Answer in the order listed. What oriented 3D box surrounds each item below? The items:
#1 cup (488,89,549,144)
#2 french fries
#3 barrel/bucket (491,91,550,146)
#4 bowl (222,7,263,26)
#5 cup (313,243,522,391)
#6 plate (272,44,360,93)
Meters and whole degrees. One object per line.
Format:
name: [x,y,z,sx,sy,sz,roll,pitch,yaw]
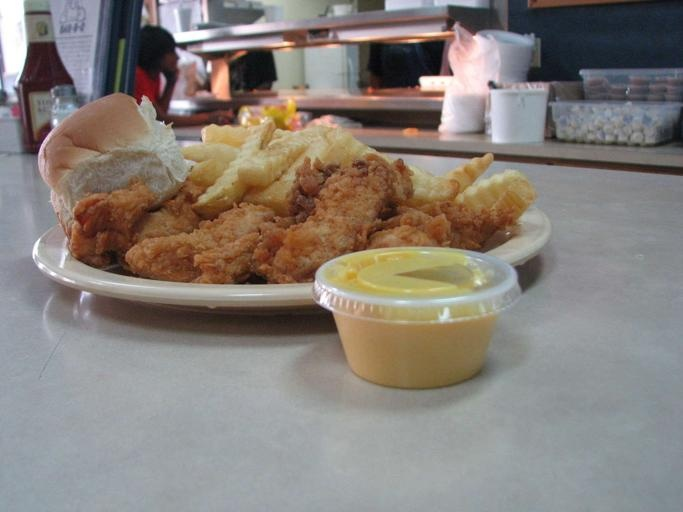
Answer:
cup: [0.682,-0.529,2.177,0.252,0.184,0.200,5,11,35]
french fries: [0.007,-0.113,0.756,0.350,0.079,0.210,4,13,-1]
barrel/bucket: [0.680,-0.533,2.167,0.247,0.171,0.192,2,14,13]
bowl: [-0.667,-1.630,3.810,0.088,0.128,0.334,11,21,35]
cup: [0.066,0.022,0.422,0.126,0.057,0.123,-2,11,0]
plate: [-0.183,-1.212,3.627,0.164,0.250,0.863,-12,20,-30]
